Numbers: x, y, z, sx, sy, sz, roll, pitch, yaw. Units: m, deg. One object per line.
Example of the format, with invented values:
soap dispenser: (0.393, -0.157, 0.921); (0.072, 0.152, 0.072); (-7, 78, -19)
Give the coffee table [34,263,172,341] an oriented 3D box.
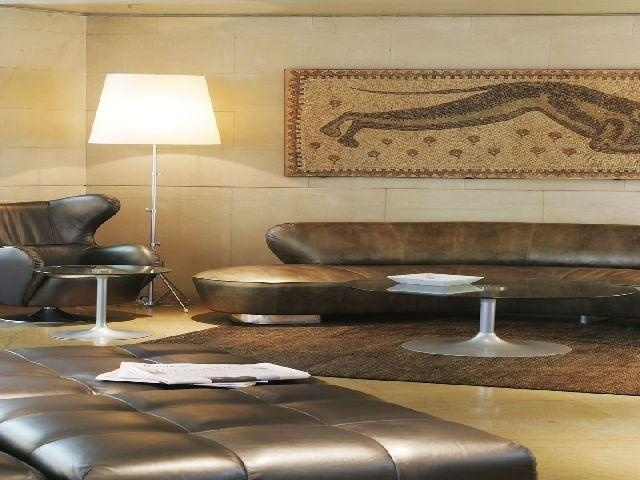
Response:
coffee table: (-1.476, 0.302, 4.794); (0.980, 0.488, 0.365); (-6, -24, -9)
